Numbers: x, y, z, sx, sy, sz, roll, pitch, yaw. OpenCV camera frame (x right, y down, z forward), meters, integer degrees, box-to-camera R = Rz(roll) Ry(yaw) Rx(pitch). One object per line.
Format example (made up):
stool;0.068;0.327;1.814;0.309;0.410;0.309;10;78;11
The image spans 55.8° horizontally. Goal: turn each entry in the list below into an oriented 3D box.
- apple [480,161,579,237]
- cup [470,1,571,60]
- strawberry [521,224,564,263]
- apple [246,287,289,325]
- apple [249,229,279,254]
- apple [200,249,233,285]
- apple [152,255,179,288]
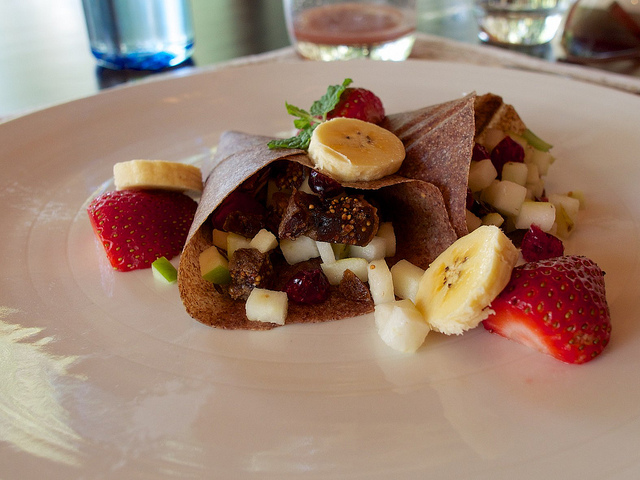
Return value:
apple;0.779;-0.132;2.230;0.307;0.124;0.311;31;48;-1
cup;1.123;-1.219;3.415;0.395;0.217;0.483;-27;43;-20
strawberry;0.754;0.001;2.097;0.107;0.116;0.169;-4;18;-30
apple;-0.177;0.192;1.961;0.125;0.064;0.095;9;32;6
apple;-0.204;0.002;2.150;0.075;0.049;0.075;-37;69;-16
apple;-0.375;0.094;2.168;0.113;0.117;0.085;27;26;13
apple;-0.547;0.134;2.145;0.095;0.043;0.055;32;17;18
